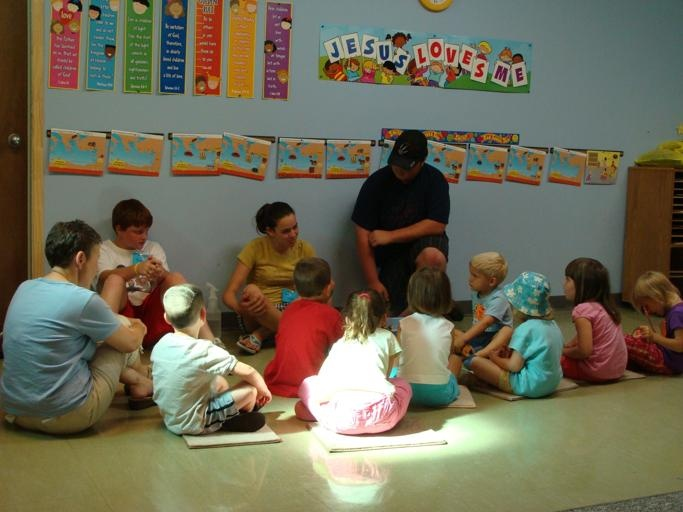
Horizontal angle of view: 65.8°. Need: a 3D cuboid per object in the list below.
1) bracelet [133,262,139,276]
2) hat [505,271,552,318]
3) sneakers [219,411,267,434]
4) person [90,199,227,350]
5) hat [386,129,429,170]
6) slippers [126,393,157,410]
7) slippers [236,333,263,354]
[{"bbox_3d":[-0.995,0.064,2.559,0.019,0.057,0.047,-3,19,-19],"label":"bracelet"},{"bbox_3d":[0.849,0.134,2.356,0.224,0.130,0.260,4,38,13],"label":"hat"},{"bbox_3d":[-0.362,0.600,1.959,0.179,0.065,0.072,-5,-6,-18],"label":"sneakers"},{"bbox_3d":[-0.916,0.103,2.700,0.579,0.735,0.750,-1,4,-33],"label":"person"},{"bbox_3d":[0.382,-0.584,3.055,0.170,0.132,0.248,27,51,21],"label":"hat"},{"bbox_3d":[-0.810,0.574,2.096,0.061,0.030,0.123,1,-1,7],"label":"slippers"},{"bbox_3d":[-0.487,0.464,2.786,0.076,0.058,0.133,29,2,17],"label":"slippers"}]
